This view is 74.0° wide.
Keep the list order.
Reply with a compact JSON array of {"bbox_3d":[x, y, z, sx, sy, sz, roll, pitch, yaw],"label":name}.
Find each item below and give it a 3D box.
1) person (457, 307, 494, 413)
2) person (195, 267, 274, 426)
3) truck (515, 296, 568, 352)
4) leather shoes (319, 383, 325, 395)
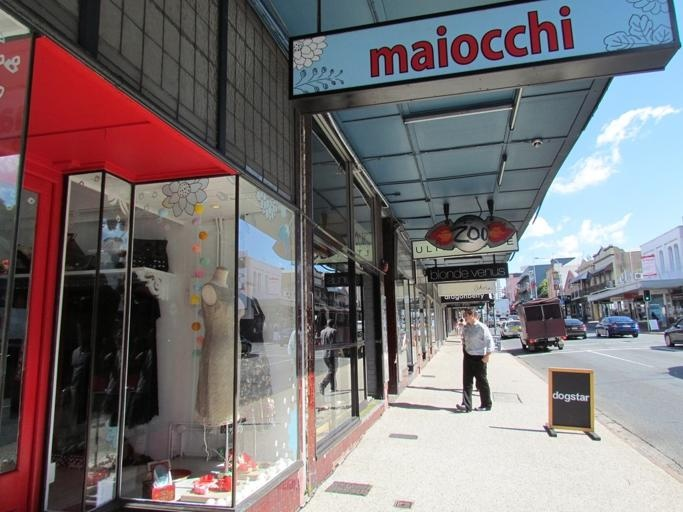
[{"bbox_3d":[2.369,1.778,7.829,0.602,1.735,1.280,4,4,17],"label":"person"},{"bbox_3d":[-0.893,0.789,3.748,0.652,1.361,0.665,2,4,-11],"label":"person"},{"bbox_3d":[9.158,2.955,20.436,1.942,2.663,3.368,-6,-4,12],"label":"truck"},{"bbox_3d":[-0.215,1.466,5.046,0.034,0.120,0.048,-2,14,-5],"label":"leather shoes"}]
